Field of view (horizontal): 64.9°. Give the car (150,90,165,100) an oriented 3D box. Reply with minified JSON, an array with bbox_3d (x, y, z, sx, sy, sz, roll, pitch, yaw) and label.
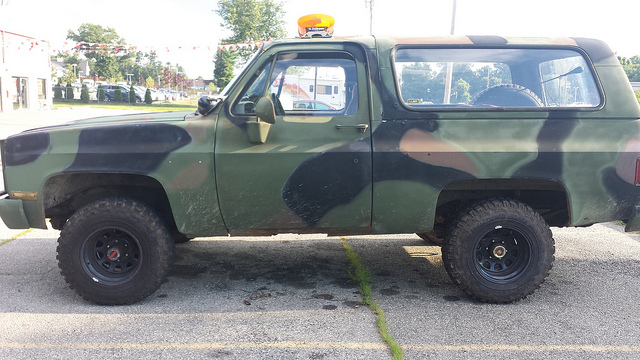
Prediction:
[{"bbox_3d":[-19.547,-10.097,60.305,1.945,0.768,2.835,1,9,-11],"label":"car"}]

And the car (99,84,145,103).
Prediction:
[{"bbox_3d":[-19.477,-8.487,49.622,4.270,1.444,1.862,-1,8,-12],"label":"car"}]
